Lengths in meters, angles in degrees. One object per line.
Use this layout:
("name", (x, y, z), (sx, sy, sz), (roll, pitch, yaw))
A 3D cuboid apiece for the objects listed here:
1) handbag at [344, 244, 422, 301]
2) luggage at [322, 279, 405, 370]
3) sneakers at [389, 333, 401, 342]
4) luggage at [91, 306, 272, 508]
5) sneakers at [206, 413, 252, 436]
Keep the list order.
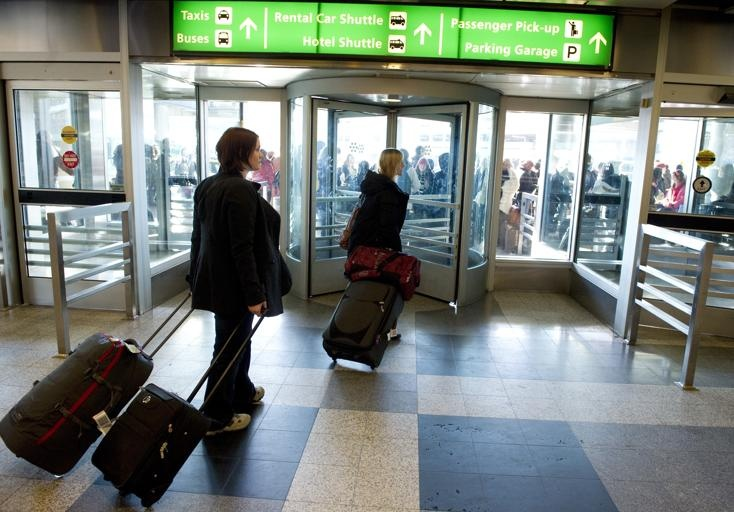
("handbag", (0.183, 0.130, 5.492), (0.702, 0.430, 0.255), (7, -11, 9))
("luggage", (-0.043, 0.624, 5.309), (0.525, 0.731, 0.619), (7, 14, 21))
("sneakers", (0.312, 0.890, 6.060), (0.054, 0.061, 0.152), (3, 12, 16))
("luggage", (-1.387, 1.202, 3.962), (0.921, 0.914, 0.429), (-10, 18, -42))
("sneakers", (-1.092, 1.323, 4.473), (0.345, 0.139, 0.121), (-10, 16, -32))
